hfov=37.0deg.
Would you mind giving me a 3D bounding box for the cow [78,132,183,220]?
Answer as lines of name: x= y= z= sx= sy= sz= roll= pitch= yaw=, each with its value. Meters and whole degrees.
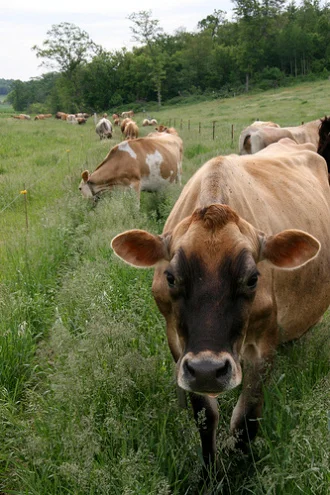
cow: x=-0.293 y=-1.589 z=9.451 sx=0.955 sy=1.554 sz=2.895 roll=4 pitch=22 yaw=39
